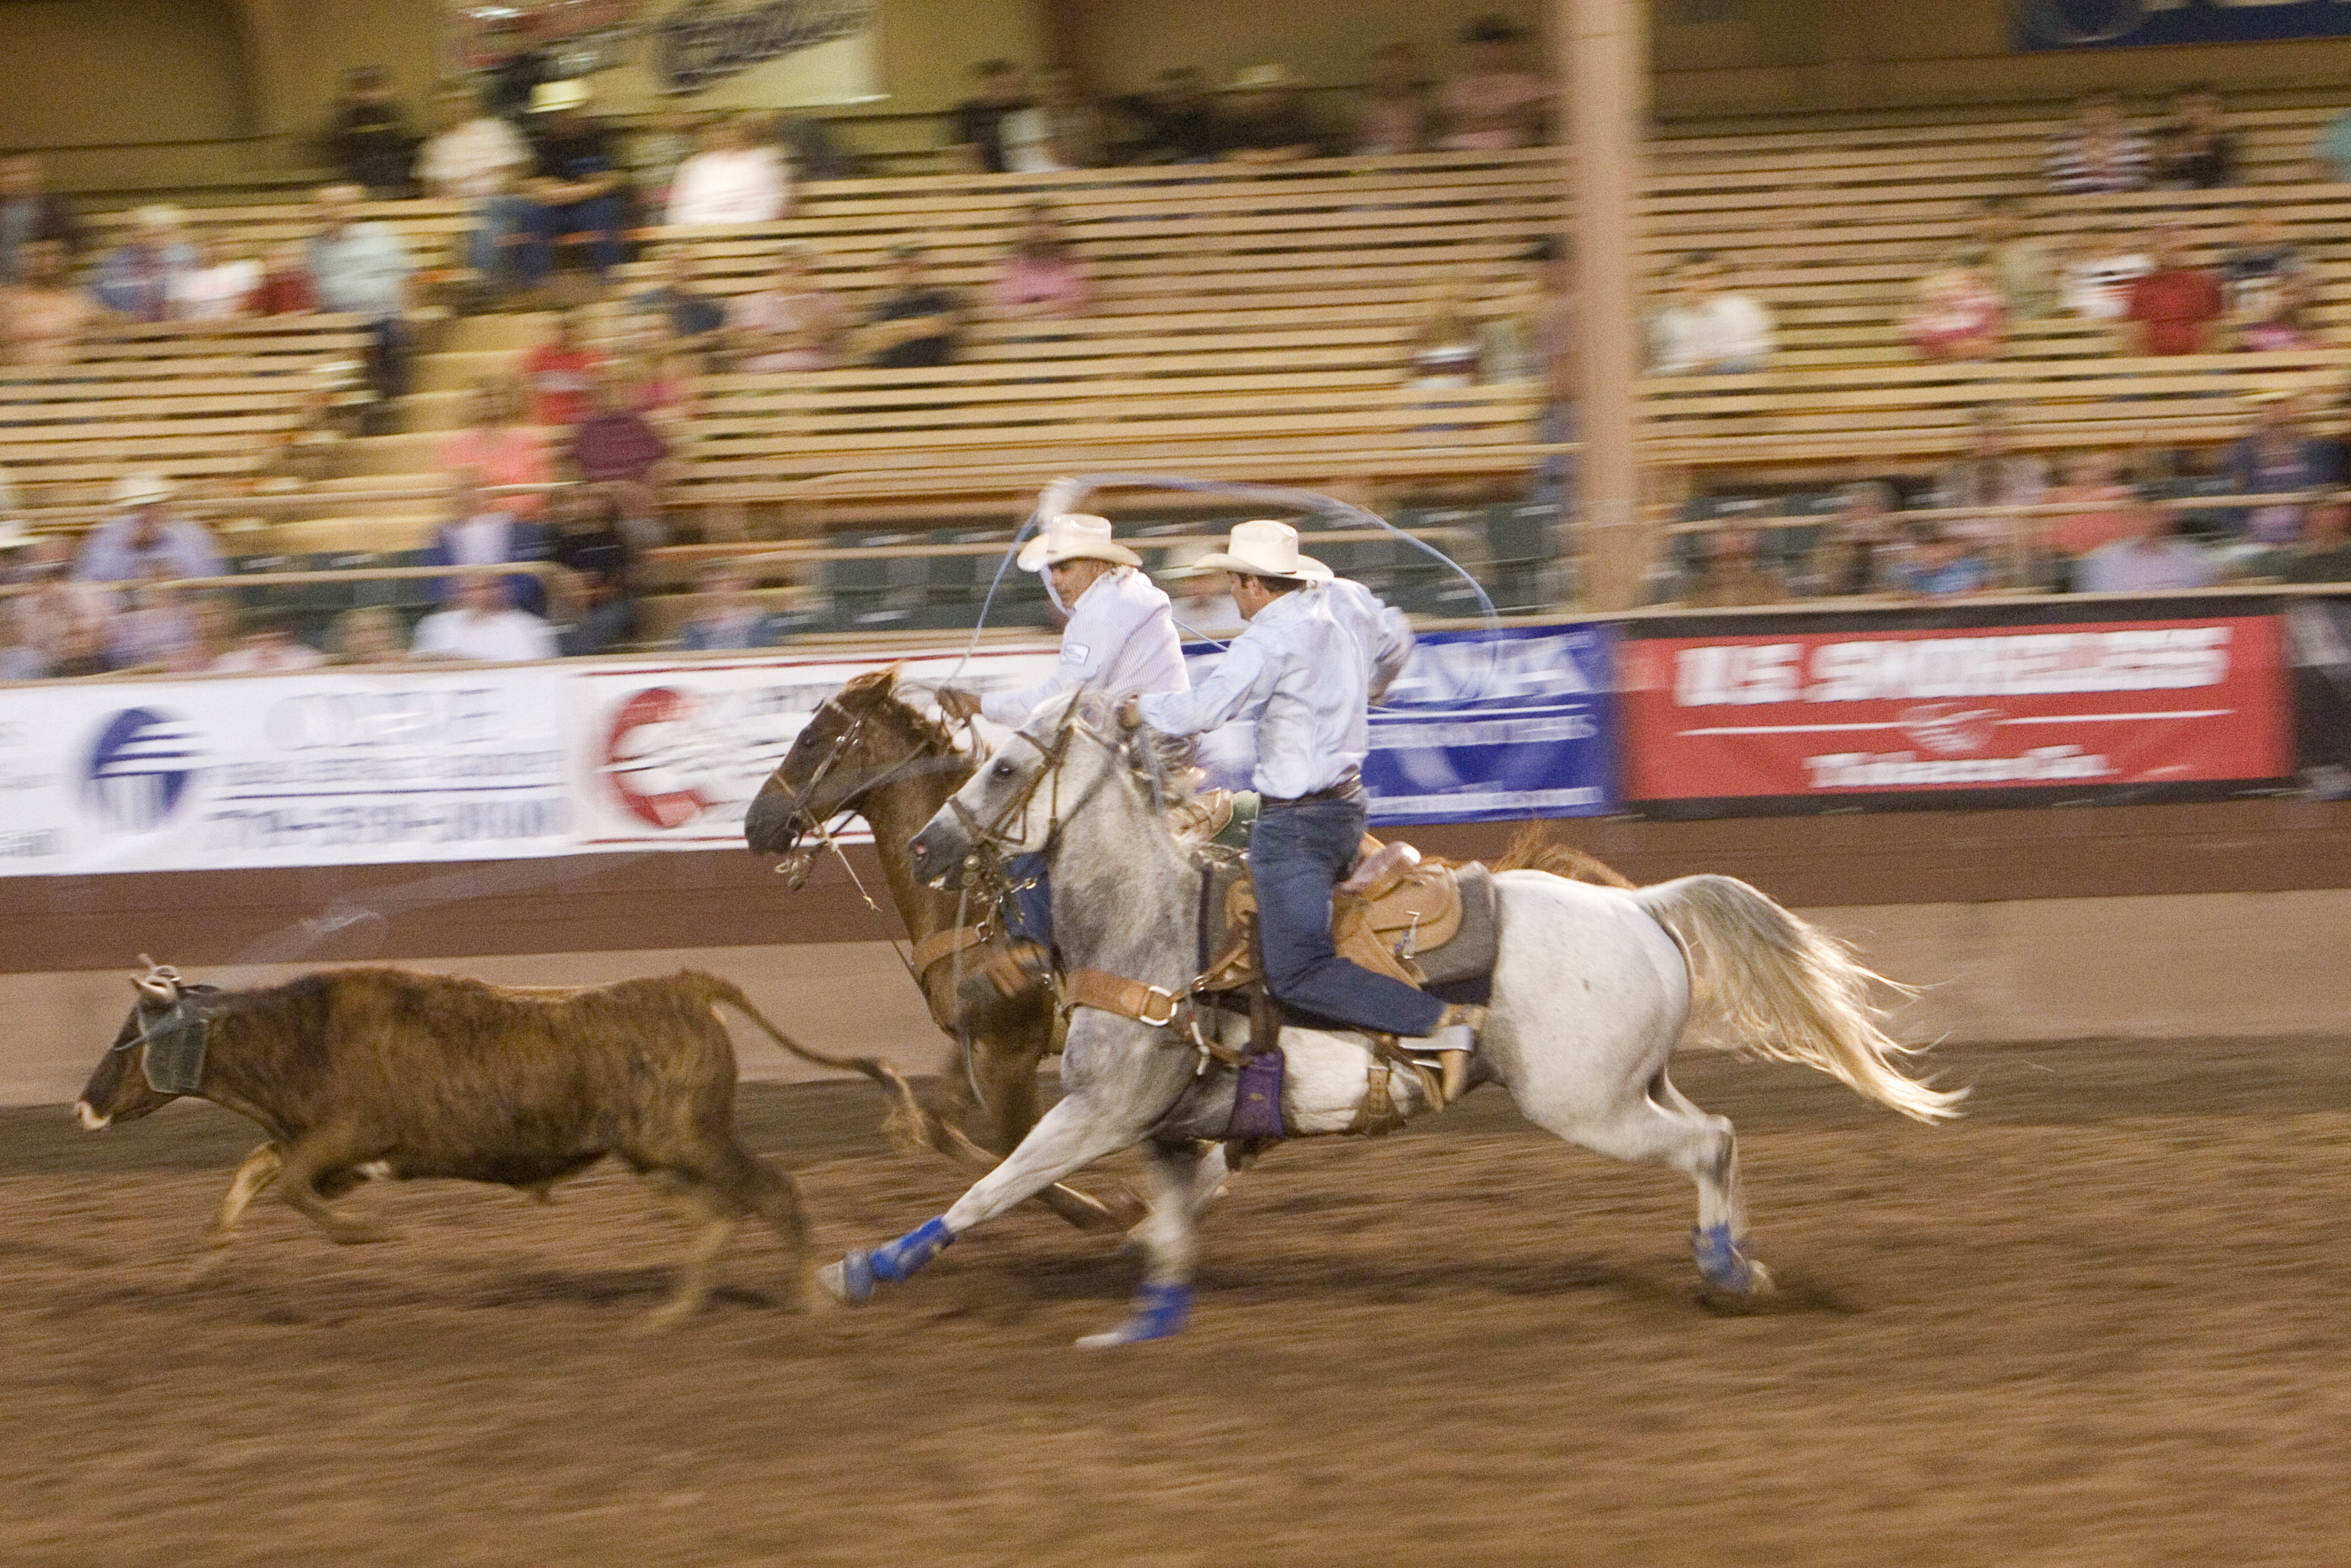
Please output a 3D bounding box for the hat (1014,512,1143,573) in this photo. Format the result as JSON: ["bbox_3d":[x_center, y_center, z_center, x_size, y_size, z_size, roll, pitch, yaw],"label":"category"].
[{"bbox_3d":[-0.424,-1.039,12.705,0.478,0.119,0.342,-3,-3,10],"label":"hat"}]

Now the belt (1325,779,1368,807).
[{"bbox_3d":[0.682,0.044,12.073,0.168,0.095,0.110,-8,7,-8],"label":"belt"}]

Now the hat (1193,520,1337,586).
[{"bbox_3d":[0.375,-0.963,11.977,0.501,0.120,0.384,9,-7,-28],"label":"hat"}]

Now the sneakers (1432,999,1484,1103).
[{"bbox_3d":[1.054,1.076,11.937,0.188,0.352,0.187,6,-8,-10],"label":"sneakers"}]

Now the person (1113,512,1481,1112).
[{"bbox_3d":[0.483,0.121,11.959,1.158,2.294,0.821,-6,18,-5],"label":"person"}]
